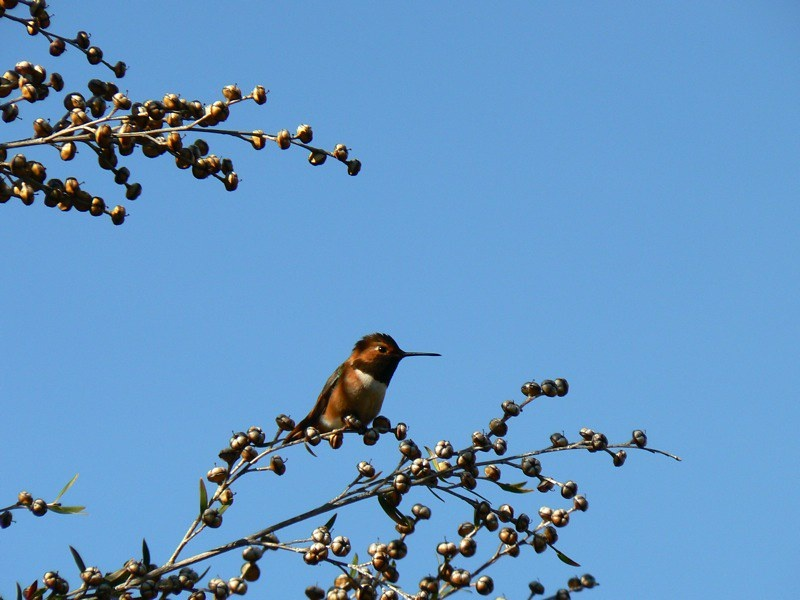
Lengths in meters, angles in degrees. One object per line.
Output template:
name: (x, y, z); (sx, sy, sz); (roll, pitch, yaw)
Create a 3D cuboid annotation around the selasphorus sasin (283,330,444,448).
selasphorus sasin: (-0.335, 0.636, 12.928); (1.253, 0.756, 0.428); (-14, -31, 29)
